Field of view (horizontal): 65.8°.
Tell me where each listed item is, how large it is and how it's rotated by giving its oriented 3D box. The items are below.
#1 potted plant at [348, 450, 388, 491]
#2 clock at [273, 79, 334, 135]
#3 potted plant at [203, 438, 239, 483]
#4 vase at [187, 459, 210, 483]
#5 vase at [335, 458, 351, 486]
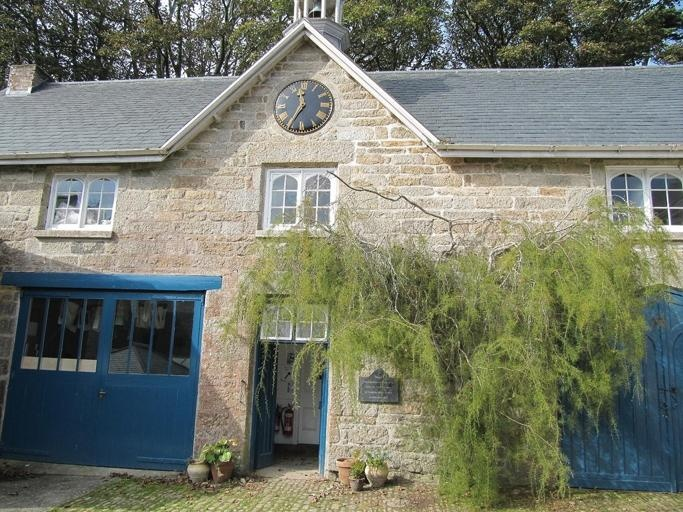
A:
[{"bbox_3d":[0.459,3.800,9.333,0.551,0.500,0.704,-1,-9,12],"label":"potted plant"},{"bbox_3d":[-0.737,-3.005,10.835,1.224,1.232,0.102,-1,-15,5],"label":"clock"},{"bbox_3d":[-2.198,3.779,9.796,0.520,0.662,0.620,-11,-7,26],"label":"potted plant"},{"bbox_3d":[-2.584,3.904,9.601,0.339,0.350,0.352,5,-12,-8],"label":"vase"},{"bbox_3d":[0.025,3.894,9.553,0.368,0.397,0.367,9,-13,-39],"label":"vase"}]
